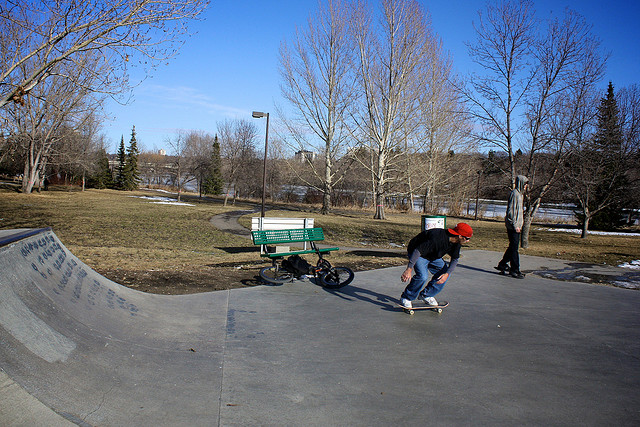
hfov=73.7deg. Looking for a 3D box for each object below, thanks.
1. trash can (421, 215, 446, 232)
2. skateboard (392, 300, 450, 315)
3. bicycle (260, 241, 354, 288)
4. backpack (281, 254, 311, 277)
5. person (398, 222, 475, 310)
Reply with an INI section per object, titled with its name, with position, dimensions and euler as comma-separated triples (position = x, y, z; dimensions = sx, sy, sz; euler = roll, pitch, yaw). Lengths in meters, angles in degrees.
[trash can]
position = 3.302, 0.298, 12.518
dimensions = 0.621, 0.479, 0.978
euler = 7, 12, 20
[skateboard]
position = 1.936, 1.841, 8.423
dimensions = 1.352, 0.245, 0.367
euler = 2, 17, -15
[bicycle]
position = -0.293, 1.356, 10.206
dimensions = 1.952, 0.967, 1.191
euler = -3, 12, 3
[backpack]
position = -0.541, 1.193, 9.891
dimensions = 0.542, 0.211, 0.428
euler = 18, 20, -17
[person]
position = 2.119, 0.917, 8.230
dimensions = 1.085, 1.853, 0.922
euler = 9, 21, -10
